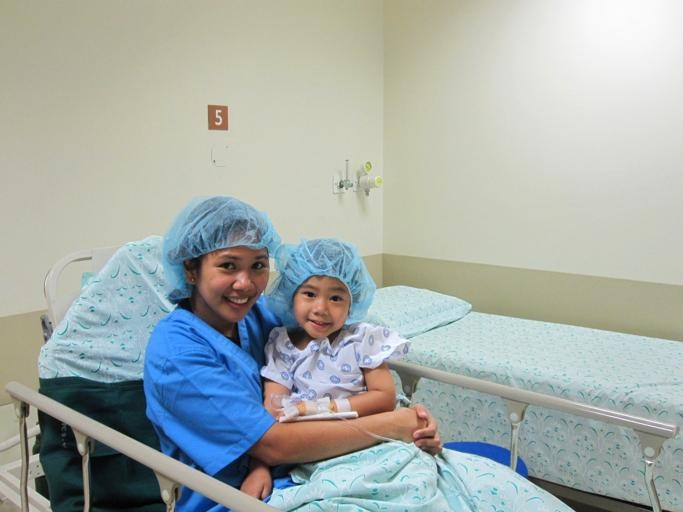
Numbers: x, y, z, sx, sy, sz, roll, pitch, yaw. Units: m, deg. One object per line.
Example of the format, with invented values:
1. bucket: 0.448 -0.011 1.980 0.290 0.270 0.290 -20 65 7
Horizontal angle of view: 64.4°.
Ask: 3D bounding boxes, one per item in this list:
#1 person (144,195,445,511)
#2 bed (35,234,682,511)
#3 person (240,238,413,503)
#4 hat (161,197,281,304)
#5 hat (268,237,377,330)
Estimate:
1. person: -0.189 0.225 1.961 0.964 1.113 0.728 -5 -2 25
2. bed: 0.126 0.437 1.997 1.576 0.714 0.889 12 18 32
3. person: 0.001 0.328 1.976 0.566 0.905 0.679 -3 -9 13
4. hat: -0.375 0.013 1.646 0.275 0.262 0.308 -20 28 -21
5. hat: -0.078 0.072 1.851 0.315 0.253 0.287 5 8 35
